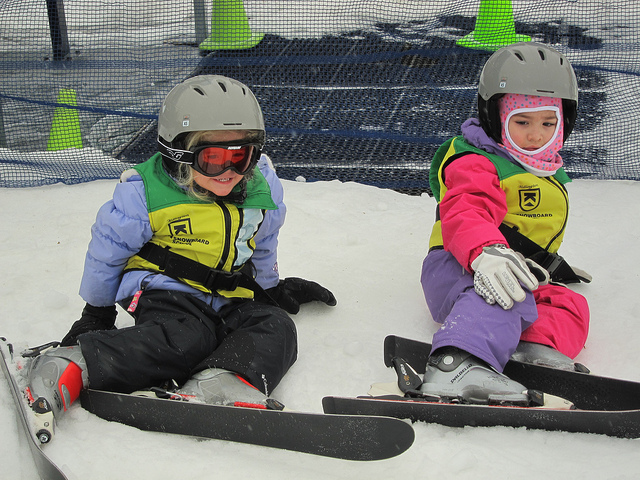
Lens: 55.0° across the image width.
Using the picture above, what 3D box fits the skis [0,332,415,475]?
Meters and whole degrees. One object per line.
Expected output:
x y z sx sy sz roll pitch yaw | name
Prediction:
-0.417 0.566 2.090 1.773 0.202 0.152 6 -28 8 | skis

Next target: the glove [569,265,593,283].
1.298 0.179 3.041 0.101 0.062 0.108 11 18 23 | glove

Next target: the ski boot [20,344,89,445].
-0.895 0.500 2.079 0.179 0.117 0.292 27 35 -28 | ski boot

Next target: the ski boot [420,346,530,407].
0.530 0.481 2.202 0.394 0.179 0.160 8 12 14 | ski boot
